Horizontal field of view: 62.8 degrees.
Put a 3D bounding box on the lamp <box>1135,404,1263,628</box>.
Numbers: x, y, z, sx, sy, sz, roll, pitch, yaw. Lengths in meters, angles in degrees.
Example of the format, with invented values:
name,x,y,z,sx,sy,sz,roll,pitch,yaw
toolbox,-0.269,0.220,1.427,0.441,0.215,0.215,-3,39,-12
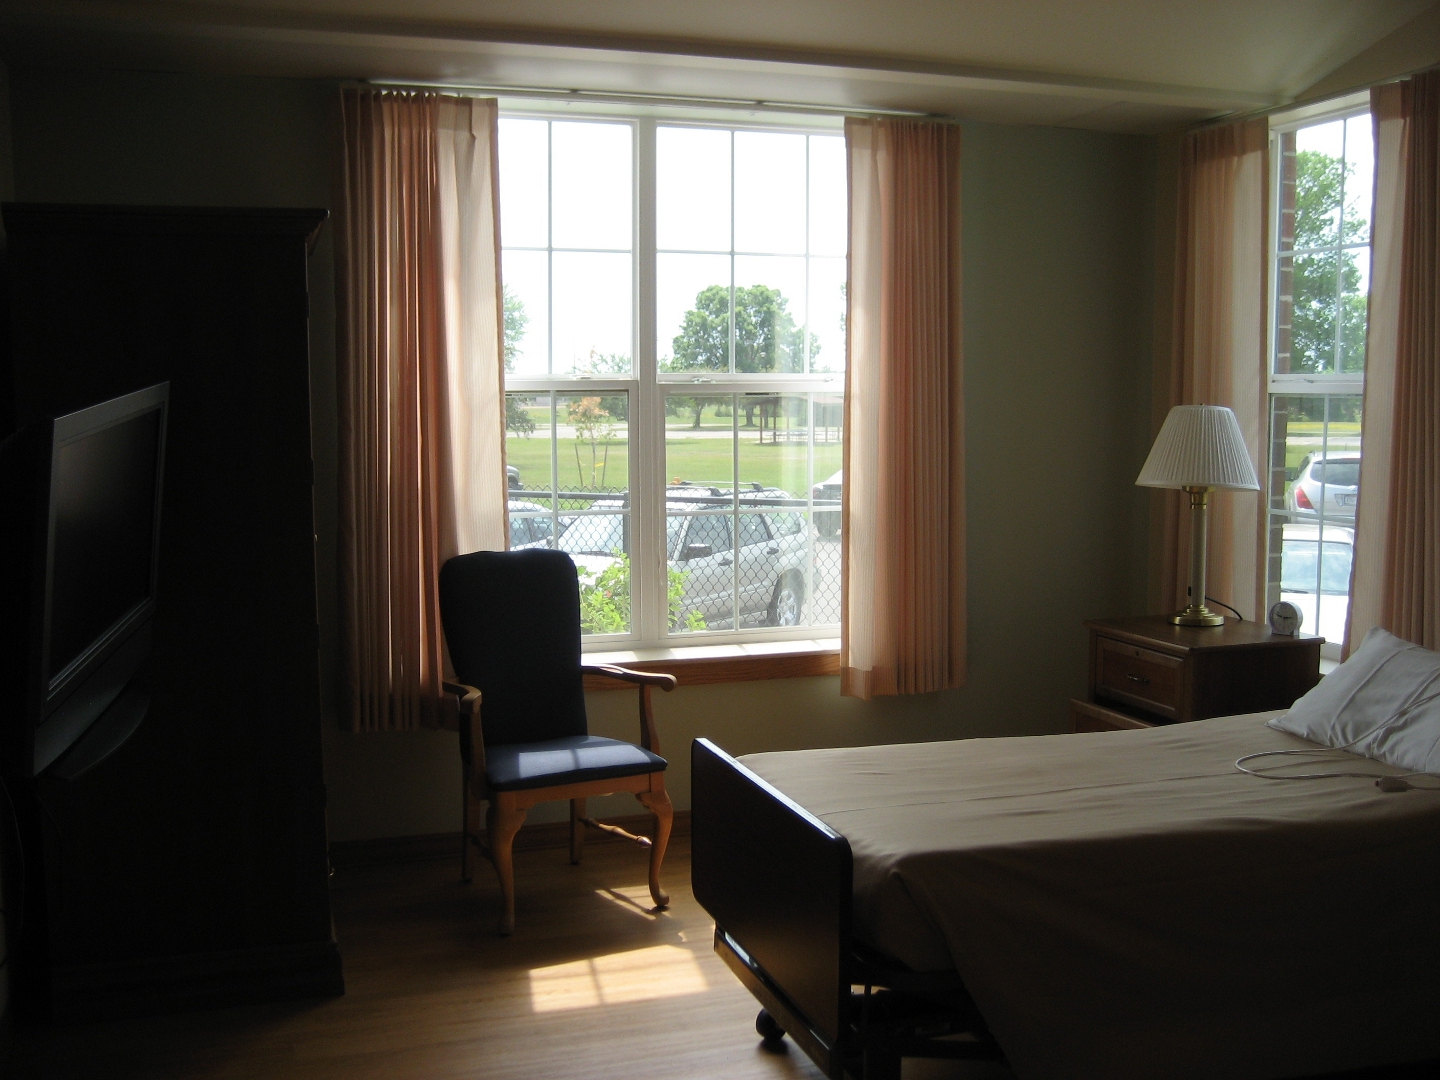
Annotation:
name,x,y,z,sx,sy,sz,roll,pitch,yaw
lamp,1.875,-0.110,4.595,0.400,0.846,0.479,6,12,29

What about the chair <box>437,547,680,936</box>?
name,x,y,z,sx,sy,sz,roll,pitch,yaw
chair,-0.580,0.662,4.287,0.825,1.171,0.833,-3,11,-15
